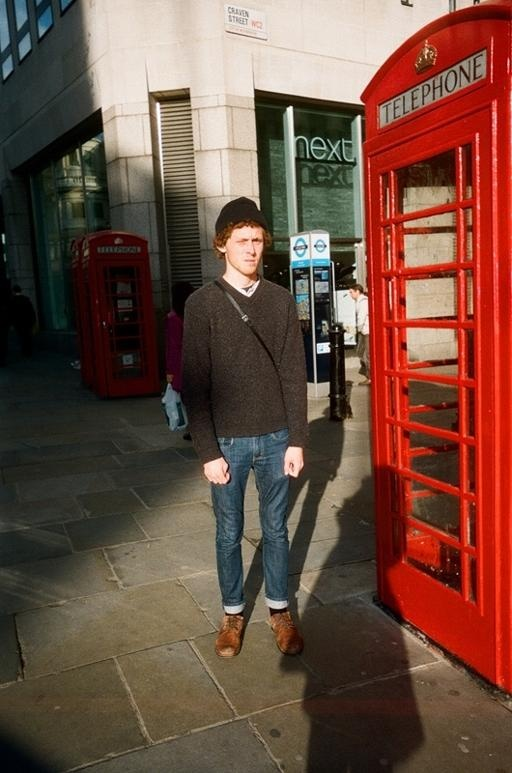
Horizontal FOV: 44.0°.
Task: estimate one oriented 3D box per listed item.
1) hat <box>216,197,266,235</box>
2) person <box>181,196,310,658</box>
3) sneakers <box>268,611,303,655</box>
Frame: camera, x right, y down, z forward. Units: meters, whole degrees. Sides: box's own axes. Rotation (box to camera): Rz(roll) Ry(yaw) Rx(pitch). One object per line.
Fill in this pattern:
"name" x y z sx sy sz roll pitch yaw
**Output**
"hat" -0.078 -0.730 2.730 0.179 0.127 0.171 5 -20 -28
"person" -0.035 0.181 2.749 0.512 1.955 0.320 -3 7 1
"sneakers" 0.144 1.081 2.815 0.084 0.082 0.212 -1 1 -10
